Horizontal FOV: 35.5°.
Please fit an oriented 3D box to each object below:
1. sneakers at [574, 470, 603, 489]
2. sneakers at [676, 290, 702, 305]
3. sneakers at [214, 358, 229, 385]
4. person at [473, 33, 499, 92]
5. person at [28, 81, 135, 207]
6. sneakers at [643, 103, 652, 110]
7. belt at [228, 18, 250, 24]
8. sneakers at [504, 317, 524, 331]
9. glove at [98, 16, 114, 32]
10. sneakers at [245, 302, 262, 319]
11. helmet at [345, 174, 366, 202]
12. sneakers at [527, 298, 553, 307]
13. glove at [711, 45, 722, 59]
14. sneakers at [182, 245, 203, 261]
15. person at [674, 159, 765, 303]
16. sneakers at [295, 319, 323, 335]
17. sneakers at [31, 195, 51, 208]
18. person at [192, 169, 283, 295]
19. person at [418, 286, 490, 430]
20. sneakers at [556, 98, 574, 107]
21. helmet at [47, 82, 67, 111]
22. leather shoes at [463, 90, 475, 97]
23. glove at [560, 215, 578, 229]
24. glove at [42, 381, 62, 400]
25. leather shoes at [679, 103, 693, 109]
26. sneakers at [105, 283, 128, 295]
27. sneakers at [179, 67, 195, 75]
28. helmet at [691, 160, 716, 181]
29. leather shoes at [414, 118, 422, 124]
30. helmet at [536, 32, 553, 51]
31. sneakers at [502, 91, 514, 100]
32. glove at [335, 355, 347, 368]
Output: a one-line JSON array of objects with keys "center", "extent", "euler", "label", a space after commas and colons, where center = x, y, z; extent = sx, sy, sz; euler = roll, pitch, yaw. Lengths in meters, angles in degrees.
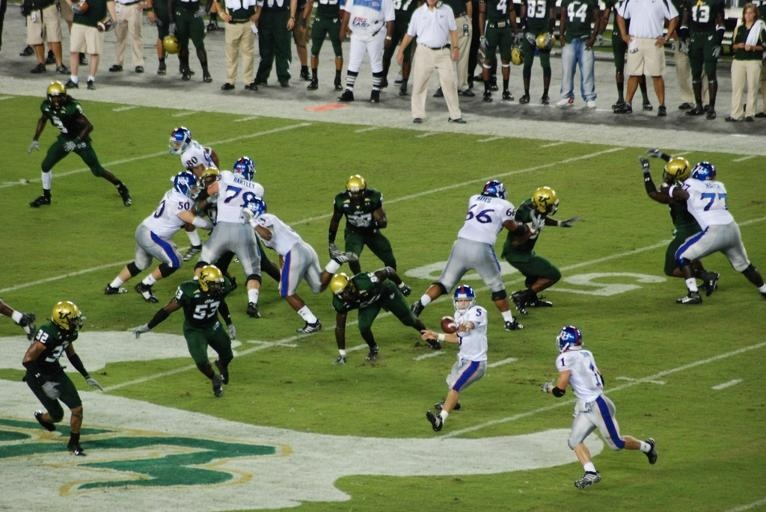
[{"center": [2.072, 2.202, 12.004], "extent": [0.329, 0.138, 0.123], "euler": [-17, 11, 19], "label": "sneakers"}, {"center": [4.170, 0.557, 16.233], "extent": [0.336, 0.187, 0.295], "euler": [1, 5, 18], "label": "sneakers"}, {"center": [-1.916, 1.347, 14.189], "extent": [0.171, 0.328, 0.122], "euler": [-5, 13, 22], "label": "sneakers"}, {"center": [2.353, -4.081, 26.237], "extent": [0.689, 0.983, 0.323], "euler": [3, 10, -31], "label": "person"}, {"center": [-5.014, -1.743, 19.321], "extent": [1.136, 1.964, 1.161], "euler": [-4, 6, -32], "label": "person"}, {"center": [5.414, -2.966, 24.321], "extent": [0.177, 0.093, 0.157], "euler": [-2, 10, -13], "label": "sneakers"}, {"center": [-3.028, -4.853, 25.303], "extent": [0.395, 0.096, 0.098], "euler": [-1, 5, -6], "label": "belt"}, {"center": [1.663, 0.884, 15.581], "extent": [0.319, 0.123, 0.097], "euler": [-8, 45, -23], "label": "sneakers"}, {"center": [-5.978, -4.844, 25.653], "extent": [0.238, 0.124, 0.381], "euler": [15, 38, 23], "label": "glove"}, {"center": [-1.725, 0.742, 16.010], "extent": [0.133, 0.129, 0.292], "euler": [2, -14, 6], "label": "sneakers"}, {"center": [-0.345, -0.937, 15.982], "extent": [0.339, 0.337, 0.315], "euler": [0, -33, 4], "label": "helmet"}, {"center": [2.119, 0.631, 16.301], "extent": [0.392, 0.131, 0.115], "euler": [-3, 14, 4], "label": "sneakers"}, {"center": [6.423, -3.828, 22.956], "extent": [0.183, 0.205, 0.071], "euler": [8, 6, 13], "label": "glove"}, {"center": [-2.712, -0.031, 17.006], "extent": [0.400, 0.157, 0.134], "euler": [-19, -28, 30], "label": "sneakers"}, {"center": [4.488, -0.291, 16.243], "extent": [0.985, 1.848, 0.529], "euler": [-2, 5, -8], "label": "person"}, {"center": [-0.953, 0.909, 15.585], "extent": [0.311, 0.191, 0.352], "euler": [-1, 5, -3], "label": "sneakers"}, {"center": [-5.639, -0.852, 19.505], "extent": [0.389, 0.117, 0.166], "euler": [-14, -6, -26], "label": "sneakers"}, {"center": [-1.956, -0.366, 15.900], "extent": [1.170, 1.021, 1.633], "euler": [-5, 42, -9], "label": "person"}, {"center": [0.806, 1.124, 13.306], "extent": [0.701, 1.537, 1.023], "euler": [-1, 5, 2], "label": "person"}, {"center": [3.851, -3.131, 24.943], "extent": [0.423, 0.127, 0.162], "euler": [-12, -15, 6], "label": "sneakers"}, {"center": [-5.114, -2.472, 18.765], "extent": [0.279, 0.400, 0.328], "euler": [-2, 5, -13], "label": "helmet"}, {"center": [1.868, -3.442, 25.967], "extent": [0.322, 0.113, 0.099], "euler": [1, 51, 6], "label": "leather shoes"}, {"center": [2.535, -0.439, 16.101], "extent": [0.192, 0.070, 0.262], "euler": [-10, 10, 27], "label": "glove"}, {"center": [-3.541, 1.419, 12.791], "extent": [0.175, 0.183, 0.057], "euler": [-28, 3, 6], "label": "glove"}, {"center": [6.172, -2.966, 24.325], "extent": [0.319, 0.109, 0.107], "euler": [-3, 9, -31], "label": "leather shoes"}, {"center": [-3.651, 0.466, 16.581], "extent": [0.387, 0.131, 0.113], "euler": [-3, 34, -9], "label": "sneakers"}, {"center": [-4.432, -4.084, 27.022], "extent": [0.154, 0.150, 0.373], "euler": [0, -3, 0], "label": "sneakers"}, {"center": [4.394, -1.140, 16.486], "extent": [0.352, 0.249, 0.257], "euler": [16, 7, 23], "label": "helmet"}, {"center": [0.698, -2.619, 23.737], "extent": [0.138, 0.072, 0.092], "euler": [-1, -1, 11], "label": "leather shoes"}, {"center": [3.360, -4.319, 24.588], "extent": [0.307, 0.303, 0.370], "euler": [8, -9, -3], "label": "helmet"}, {"center": [2.675, -3.344, 25.552], "extent": [0.259, 0.140, 0.127], "euler": [3, 37, 1], "label": "sneakers"}, {"center": [-0.511, 1.276, 14.724], "extent": [0.209, 0.117, 0.061], "euler": [-1, 21, -13], "label": "glove"}]
